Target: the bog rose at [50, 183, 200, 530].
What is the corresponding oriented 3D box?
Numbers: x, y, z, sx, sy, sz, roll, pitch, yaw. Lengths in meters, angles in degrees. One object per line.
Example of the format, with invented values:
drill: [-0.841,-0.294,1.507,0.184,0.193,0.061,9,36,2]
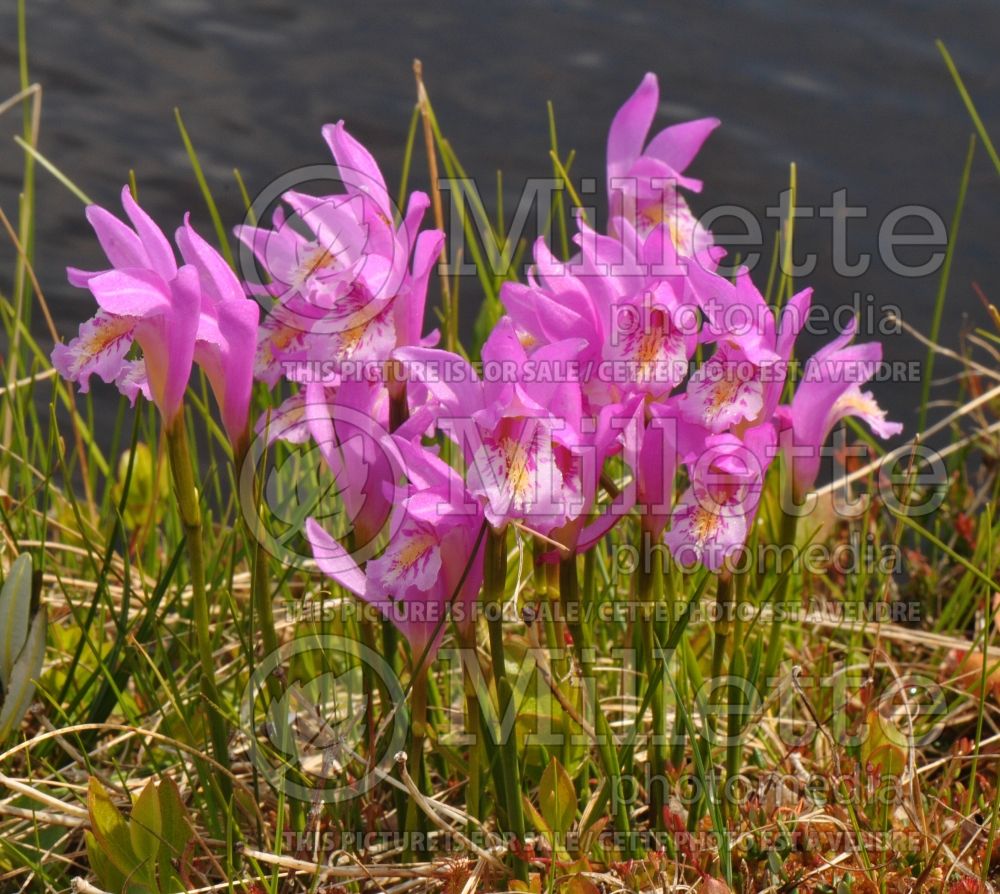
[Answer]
bog rose: [-0.517,-0.141,1.774,0.185,0.409,0.289,-20,37,-41]
